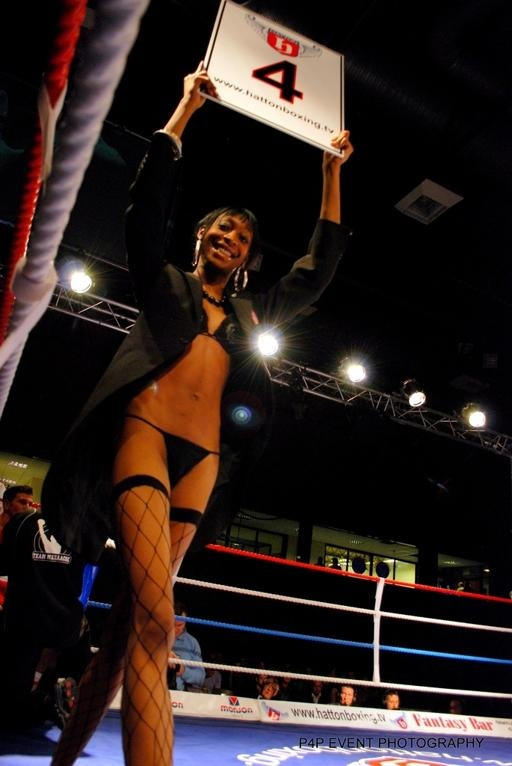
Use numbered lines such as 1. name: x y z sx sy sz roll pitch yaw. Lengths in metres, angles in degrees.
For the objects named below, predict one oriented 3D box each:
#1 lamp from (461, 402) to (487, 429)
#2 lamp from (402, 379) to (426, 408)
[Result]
1. lamp: 3.330 0.529 9.755 0.391 0.390 0.238 2 -13 5
2. lamp: 2.358 0.142 9.489 0.356 0.468 0.373 10 -17 9
